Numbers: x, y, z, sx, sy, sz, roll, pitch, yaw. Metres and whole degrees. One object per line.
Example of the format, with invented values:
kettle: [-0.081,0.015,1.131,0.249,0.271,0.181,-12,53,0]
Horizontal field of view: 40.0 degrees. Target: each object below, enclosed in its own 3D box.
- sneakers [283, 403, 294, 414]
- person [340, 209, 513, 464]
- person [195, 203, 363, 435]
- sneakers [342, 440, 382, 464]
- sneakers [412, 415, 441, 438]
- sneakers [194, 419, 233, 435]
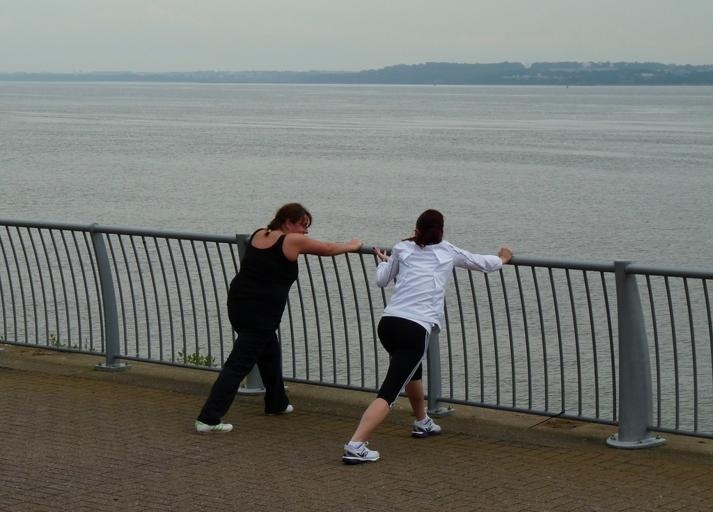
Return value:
sneakers: [-0.700,1.559,10.153,0.055,0.050,0.125,17,21,14]
person: [0.526,0.696,9.068,1.461,2.246,0.652,-4,10,-36]
person: [-0.897,0.581,9.635,1.295,2.224,0.624,1,8,-7]
sneakers: [0.026,1.751,8.800,0.419,0.156,0.147,1,1,-22]
sneakers: [0.674,1.627,9.522,0.364,0.169,0.135,-4,5,-37]
sneakers: [-1.395,1.656,9.623,0.388,0.118,0.122,-1,6,-12]
